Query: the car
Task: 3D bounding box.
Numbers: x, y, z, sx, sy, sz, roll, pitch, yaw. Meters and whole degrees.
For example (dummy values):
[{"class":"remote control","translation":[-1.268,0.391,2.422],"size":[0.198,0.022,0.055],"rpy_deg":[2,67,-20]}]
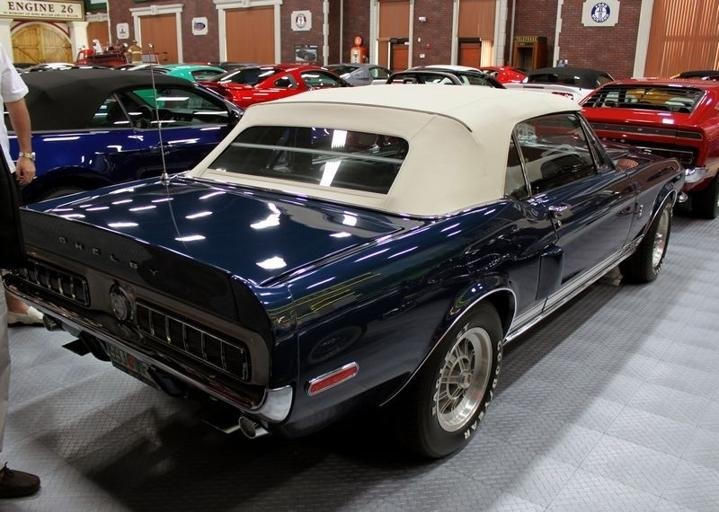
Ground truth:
[{"class":"car","translation":[0.686,-0.325,2.960],"size":[4.218,1.007,1.961],"rpy_deg":[-17,25,-41]}]
